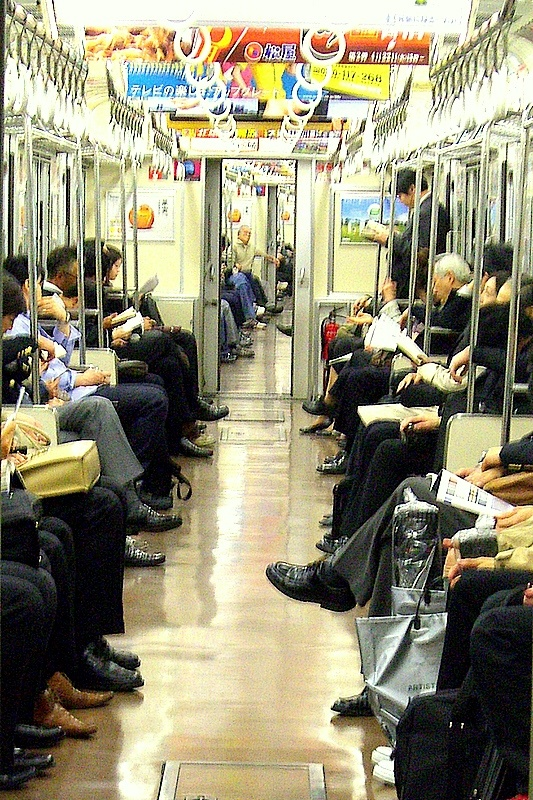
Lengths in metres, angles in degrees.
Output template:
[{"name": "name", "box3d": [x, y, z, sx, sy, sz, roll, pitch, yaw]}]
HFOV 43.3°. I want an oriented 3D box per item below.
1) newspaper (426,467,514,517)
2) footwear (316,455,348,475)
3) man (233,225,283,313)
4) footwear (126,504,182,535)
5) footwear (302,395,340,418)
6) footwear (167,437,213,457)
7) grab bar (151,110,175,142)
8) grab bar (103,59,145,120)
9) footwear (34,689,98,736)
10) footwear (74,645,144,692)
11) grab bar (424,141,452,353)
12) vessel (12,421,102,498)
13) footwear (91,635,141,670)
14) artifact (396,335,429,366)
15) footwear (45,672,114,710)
[{"name": "newspaper", "box3d": [0.641, 0.291, 2.067, 0.206, 0.141, 0.198, 7, 1, 26]}, {"name": "footwear", "box3d": [0.704, 0.710, 6.974, 0.388, 0.179, 0.138, 1, -3, -3]}, {"name": "man", "box3d": [-0.444, -3.393, 17.526, 1.252, 2.232, 1.137, -7, 13, -27]}, {"name": "footwear", "box3d": [-0.887, 0.919, 5.246, 0.523, 0.249, 0.182, -2, 13, -16]}, {"name": "footwear", "box3d": [0.652, 0.106, 7.861, 0.429, 0.198, 0.190, 10, 5, -5]}, {"name": "footwear", "box3d": [-0.821, 0.544, 7.580, 0.562, 0.253, 0.196, 7, 13, -6]}, {"name": "grab bar", "box3d": [-1.422, -3.785, 9.279, 0.089, 0.371, 0.382, -8, -4, 33]}, {"name": "grab bar", "box3d": [-1.447, -3.176, 6.856, 0.215, 0.298, 1.360, -12, 36, 1]}, {"name": "footwear", "box3d": [-0.700, 1.114, 2.380, 0.114, 0.157, 0.218, 7, 1, 41]}, {"name": "footwear", "box3d": [-0.675, 1.175, 2.971, 0.352, 0.260, 0.133, 1, -2, 2]}, {"name": "grab bar", "box3d": [1.171, -0.986, 4.695, 0.053, 1.494, 0.055, 4, 6, -3]}, {"name": "vessel", "box3d": [-0.852, 0.292, 2.782, 0.325, 0.169, 0.260, -10, 11, 4]}, {"name": "footwear", "box3d": [-0.654, 1.130, 3.009, 0.270, 0.120, 0.092, 24, 19, -28]}, {"name": "artifact", "box3d": [0.981, -0.320, 4.528, 0.123, 0.125, 0.280, -10, 50, -46]}, {"name": "footwear", "box3d": [-0.713, 1.155, 2.710, 0.328, 0.162, 0.103, 7, 4, -20]}]
